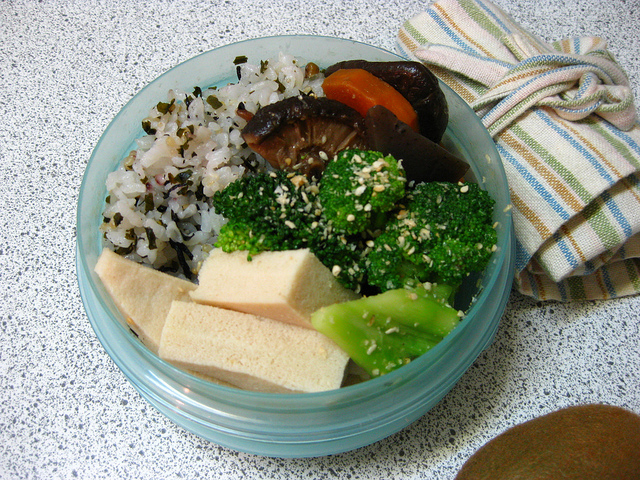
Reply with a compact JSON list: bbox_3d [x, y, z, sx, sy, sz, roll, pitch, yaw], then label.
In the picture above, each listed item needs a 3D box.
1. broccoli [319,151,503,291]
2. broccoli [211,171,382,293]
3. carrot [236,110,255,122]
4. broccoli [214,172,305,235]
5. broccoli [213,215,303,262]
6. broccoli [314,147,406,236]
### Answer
[{"bbox_3d":[0.228,-0.042,1.490,0.414,0.161,0.354,-3,91,9],"label":"broccoli"},{"bbox_3d":[-0.032,0.005,1.498,0.342,0.110,0.365,-20,69,-23],"label":"broccoli"},{"bbox_3d":[-0.219,-0.369,1.683,0.054,0.018,0.028,25,105,-14],"label":"carrot"},{"bbox_3d":[-0.154,-0.102,1.504,0.251,0.046,0.156,19,81,2],"label":"broccoli"},{"bbox_3d":[-0.160,-0.002,1.489,0.226,0.048,0.119,-2,81,-1],"label":"broccoli"},{"bbox_3d":[0.093,-0.106,1.489,0.196,0.081,0.233,33,87,13],"label":"broccoli"}]
